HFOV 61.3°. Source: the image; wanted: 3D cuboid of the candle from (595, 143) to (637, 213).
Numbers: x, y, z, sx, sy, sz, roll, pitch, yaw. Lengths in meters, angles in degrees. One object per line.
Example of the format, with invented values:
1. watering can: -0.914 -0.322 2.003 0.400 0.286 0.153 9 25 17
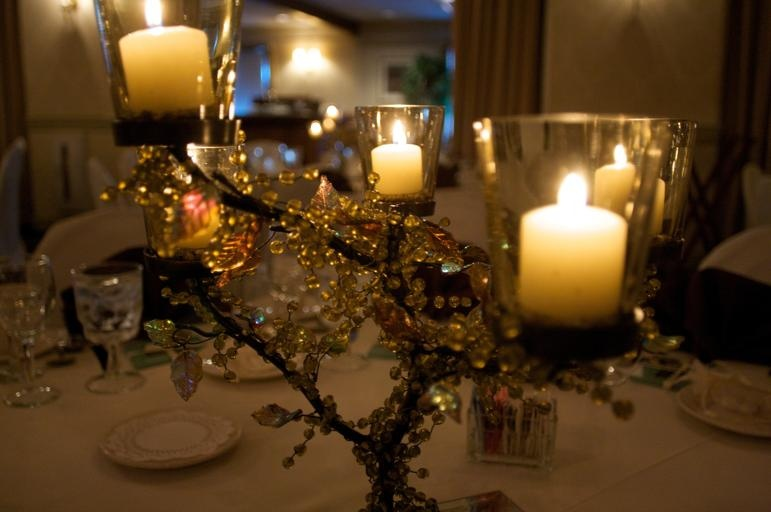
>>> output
1. candle: 0.263 -0.085 0.759 0.037 0.060 0.037 5 17 13

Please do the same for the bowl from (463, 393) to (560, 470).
1. bowl: 0.214 0.311 1.203 0.146 0.125 0.144 4 -14 1

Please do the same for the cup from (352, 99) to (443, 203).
1. cup: 0.041 -0.159 1.011 0.157 0.158 0.148 -1 8 0

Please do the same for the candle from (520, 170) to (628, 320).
1. candle: 0.225 -0.008 0.794 0.141 0.181 0.139 4 -6 -13
